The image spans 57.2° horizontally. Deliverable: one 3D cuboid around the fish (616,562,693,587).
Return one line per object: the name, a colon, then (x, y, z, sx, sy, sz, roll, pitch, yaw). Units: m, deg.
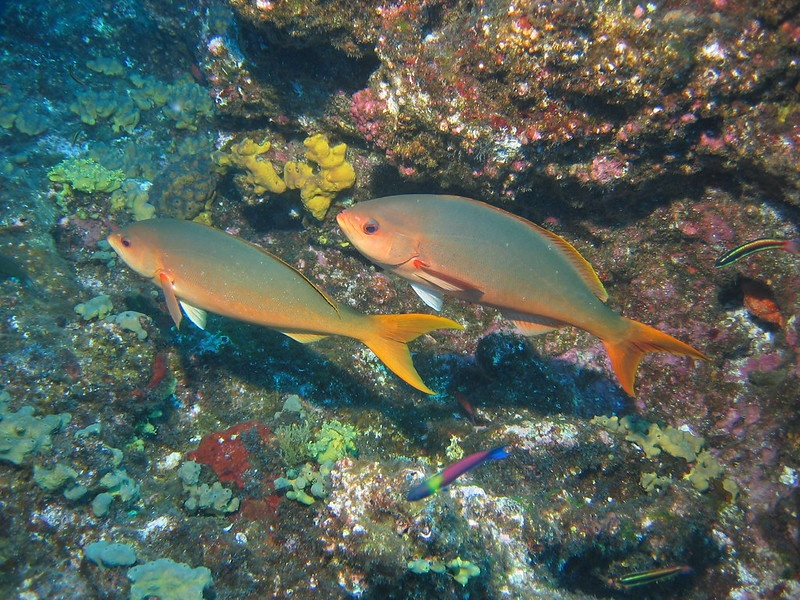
fish: (2.887, 3.075, 8.271, 0.758, 0.323, 0.135, -13, 4, 4)
